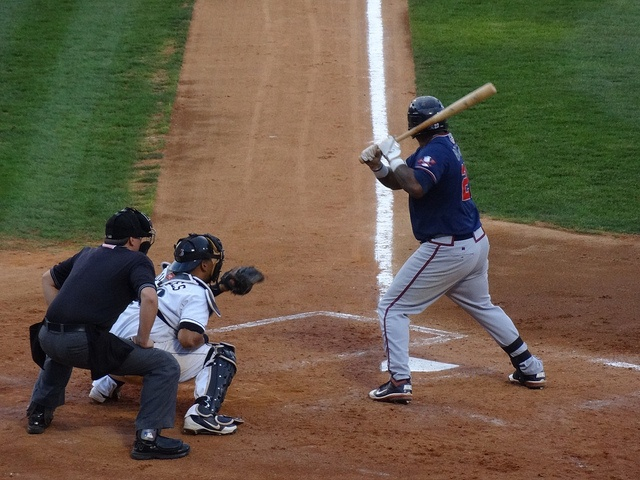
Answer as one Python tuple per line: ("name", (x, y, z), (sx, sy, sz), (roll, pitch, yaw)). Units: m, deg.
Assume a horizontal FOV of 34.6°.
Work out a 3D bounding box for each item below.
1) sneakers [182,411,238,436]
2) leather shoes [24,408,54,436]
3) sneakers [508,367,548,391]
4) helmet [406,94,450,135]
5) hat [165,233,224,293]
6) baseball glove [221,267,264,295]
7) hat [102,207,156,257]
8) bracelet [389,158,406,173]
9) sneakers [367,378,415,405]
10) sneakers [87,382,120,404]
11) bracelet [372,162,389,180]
("sneakers", (-1.239, 2.045, 11.466), (0.633, 0.191, 0.210), (0, 11, -6))
("leather shoes", (-3.097, 1.975, 11.234), (0.168, 0.143, 0.378), (4, 16, -1))
("sneakers", (2.518, 1.680, 12.414), (0.195, 0.182, 0.471), (5, 5, -31))
("helmet", (1.258, -1.518, 12.269), (0.450, 0.402, 0.505), (-7, 33, -2))
("hat", (-1.401, 0.207, 11.492), (0.555, 0.495, 0.664), (9, 16, 35))
("baseball glove", (-0.919, 0.466, 12.112), (0.365, 0.157, 0.455), (-6, -6, -40))
("hat", (-2.034, -0.126, 11.426), (0.513, 0.488, 0.614), (20, 22, 36))
("bracelet", (0.916, -0.890, 12.045), (0.184, 0.163, 0.137), (-3, -38, 45))
("sneakers", (0.871, 1.764, 11.959), (0.551, 0.243, 0.213), (-1, -26, 29))
("sneakers", (-2.548, 1.789, 12.066), (0.184, 0.172, 0.428), (24, 13, 13))
("bracelet", (0.763, -0.831, 12.492), (0.221, 0.156, 0.199), (-12, -14, 24))
